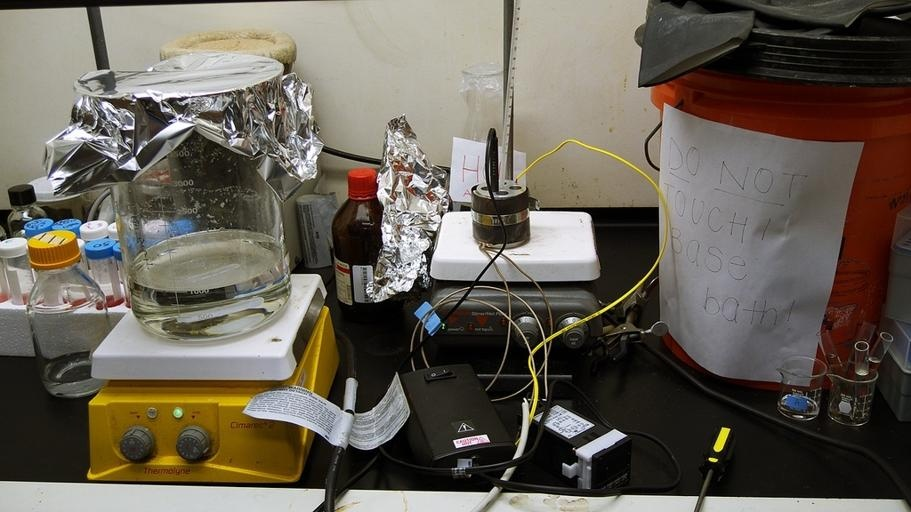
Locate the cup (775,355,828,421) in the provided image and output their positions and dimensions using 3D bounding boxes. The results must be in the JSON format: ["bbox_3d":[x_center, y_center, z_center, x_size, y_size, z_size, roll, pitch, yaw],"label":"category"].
[{"bbox_3d":[0.699,0.276,1.400,0.105,0.106,0.083,2,0,-44],"label":"cup"}]

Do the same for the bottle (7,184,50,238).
[{"bbox_3d":[-0.966,-0.104,1.566,0.074,0.129,0.083,22,29,19],"label":"bottle"}]

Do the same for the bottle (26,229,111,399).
[{"bbox_3d":[-0.789,0.117,1.409,0.138,0.355,0.197,-12,18,-34],"label":"bottle"}]

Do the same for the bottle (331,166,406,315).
[{"bbox_3d":[-0.200,-0.021,1.559,0.104,0.347,0.130,-16,20,-41],"label":"bottle"}]
